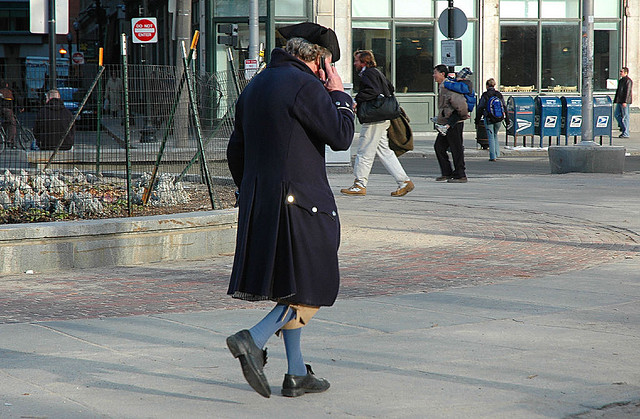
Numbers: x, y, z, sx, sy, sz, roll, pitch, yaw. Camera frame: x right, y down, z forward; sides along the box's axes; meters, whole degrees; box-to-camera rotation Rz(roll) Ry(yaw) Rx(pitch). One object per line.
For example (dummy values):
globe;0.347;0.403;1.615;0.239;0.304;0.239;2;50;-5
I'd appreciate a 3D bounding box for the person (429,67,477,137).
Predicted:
person;2.467;-2.051;21.592;0.762;1.058;0.537;9;-5;-25

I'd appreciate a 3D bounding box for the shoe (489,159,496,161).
shoe;4.063;-1.167;27.561;0.188;0.036;0.083;-4;6;-25

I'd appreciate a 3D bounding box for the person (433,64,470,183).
person;2.415;-1.570;21.746;1.047;2.088;0.722;2;-2;6

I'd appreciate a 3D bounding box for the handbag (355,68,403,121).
handbag;0.971;-1.852;19.326;0.709;0.767;0.280;-2;5;-7

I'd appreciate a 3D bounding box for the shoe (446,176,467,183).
shoe;2.587;-0.569;22.116;0.373;0.138;0.122;1;7;-5

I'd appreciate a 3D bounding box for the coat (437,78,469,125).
coat;2.428;-2.029;21.650;0.532;0.799;0.939;-3;10;-12

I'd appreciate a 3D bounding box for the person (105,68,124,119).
person;-2.805;-1.594;16.283;0.204;0.674;0.683;-3;5;-15

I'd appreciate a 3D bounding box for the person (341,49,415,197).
person;0.930;-1.435;19.806;1.323;2.265;0.928;1;2;30

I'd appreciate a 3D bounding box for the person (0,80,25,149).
person;-4.122;-1.367;15.969;0.320;0.753;1.194;-3;5;-14

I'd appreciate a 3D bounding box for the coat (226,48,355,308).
coat;-0.264;-0.306;11.067;1.159;2.388;0.434;-2;5;-4

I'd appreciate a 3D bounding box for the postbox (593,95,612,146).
postbox;6.784;-2.149;28.316;0.395;1.120;0.696;-1;5;10

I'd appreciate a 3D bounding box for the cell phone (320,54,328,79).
cell phone;0.041;-1.360;11.116;0.043;0.152;0.168;-3;2;-7

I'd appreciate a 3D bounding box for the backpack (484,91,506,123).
backpack;4.110;-2.424;27.878;0.511;0.719;0.553;-7;-4;34

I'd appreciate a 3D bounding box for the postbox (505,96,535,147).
postbox;5.169;-2.275;30.301;0.742;1.166;0.767;1;5;1

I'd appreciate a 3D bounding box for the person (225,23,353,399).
person;-0.277;0.020;11.091;1.196;3.520;0.620;-2;5;1

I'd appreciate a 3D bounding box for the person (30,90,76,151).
person;-3.721;-1.285;16.506;0.707;1.005;0.654;1;44;-20

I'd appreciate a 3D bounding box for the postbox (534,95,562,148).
postbox;5.794;-2.224;29.914;0.686;1.320;1.048;-1;5;9

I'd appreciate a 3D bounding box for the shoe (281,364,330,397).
shoe;-0.118;1.625;11.334;0.260;0.261;0.617;4;0;36
